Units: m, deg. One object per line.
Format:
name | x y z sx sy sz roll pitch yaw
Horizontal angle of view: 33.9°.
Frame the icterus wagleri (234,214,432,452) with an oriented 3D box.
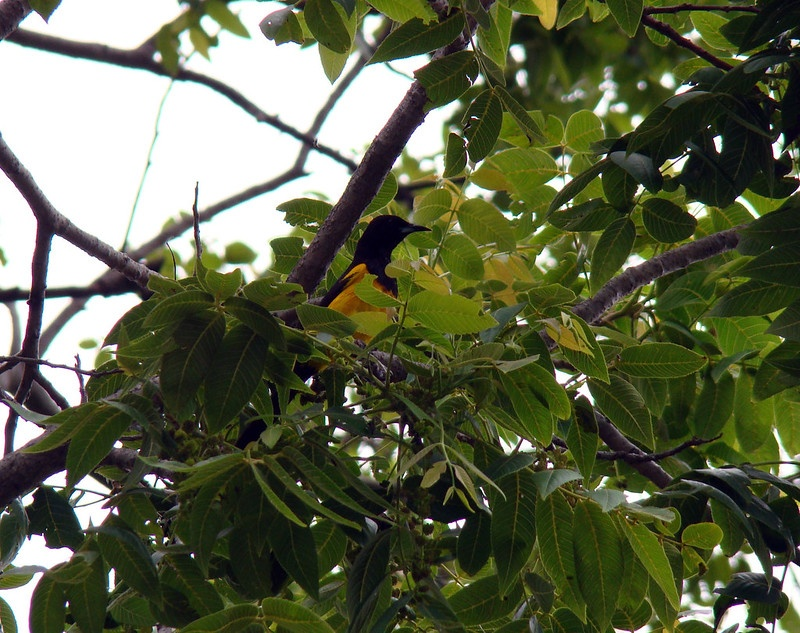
icterus wagleri | -0.248 0.088 4.922 1.016 0.560 0.283 -39 -42 3
